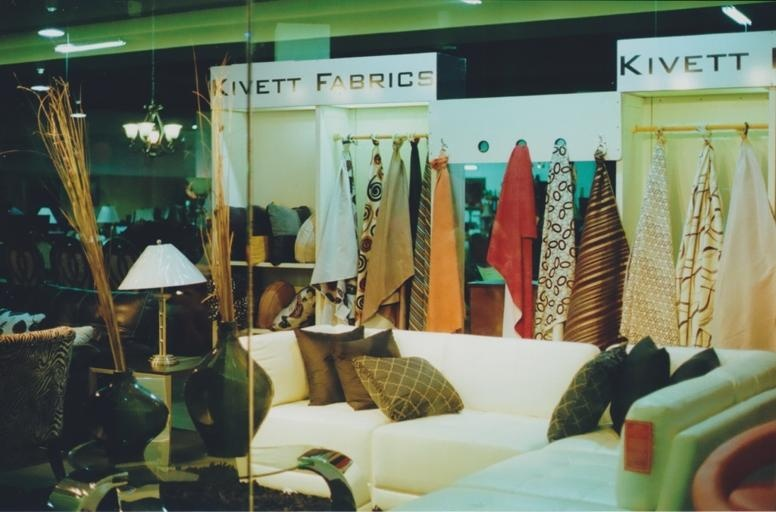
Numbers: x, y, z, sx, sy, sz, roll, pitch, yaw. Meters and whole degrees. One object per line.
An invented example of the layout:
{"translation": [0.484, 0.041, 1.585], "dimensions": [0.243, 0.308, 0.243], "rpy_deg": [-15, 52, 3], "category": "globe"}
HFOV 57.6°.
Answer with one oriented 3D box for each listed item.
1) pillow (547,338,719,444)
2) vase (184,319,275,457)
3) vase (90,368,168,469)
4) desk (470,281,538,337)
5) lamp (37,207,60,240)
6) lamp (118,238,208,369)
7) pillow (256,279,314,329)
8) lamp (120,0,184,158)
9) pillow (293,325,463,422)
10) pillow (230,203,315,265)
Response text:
{"translation": [0.910, 0.561, 2.934], "dimensions": [0.494, 0.400, 0.197], "rpy_deg": [-2, 8, 11], "category": "pillow"}
{"translation": [-0.637, 0.495, 2.716], "dimensions": [0.333, 0.448, 0.322], "rpy_deg": [11, -11, -27], "category": "vase"}
{"translation": [-0.980, 0.634, 2.690], "dimensions": [0.360, 0.344, 0.173], "rpy_deg": [-2, -8, 5], "category": "vase"}
{"translation": [0.654, 0.285, 3.601], "dimensions": [0.216, 0.312, 0.227], "rpy_deg": [2, 3, 37], "category": "desk"}
{"translation": [-1.349, -0.138, 2.816], "dimensions": [0.122, 0.117, 0.035], "rpy_deg": [3, 11, 40], "category": "lamp"}
{"translation": [-0.841, 0.173, 3.037], "dimensions": [0.474, 0.626, 0.480], "rpy_deg": [-1, 2, -10], "category": "lamp"}
{"translation": [-0.554, 0.256, 3.905], "dimensions": [0.116, 0.279, 0.448], "rpy_deg": [1, 9, 31], "category": "pillow"}
{"translation": [-0.933, -0.597, 2.771], "dimensions": [0.239, 0.399, 0.058], "rpy_deg": [-2, 9, 15], "category": "lamp"}
{"translation": [-0.074, 0.554, 3.404], "dimensions": [0.445, 0.219, 0.564], "rpy_deg": [11, -10, -37], "category": "pillow"}
{"translation": [-0.511, -0.098, 3.617], "dimensions": [0.098, 0.316, 0.329], "rpy_deg": [-11, -11, 44], "category": "pillow"}
